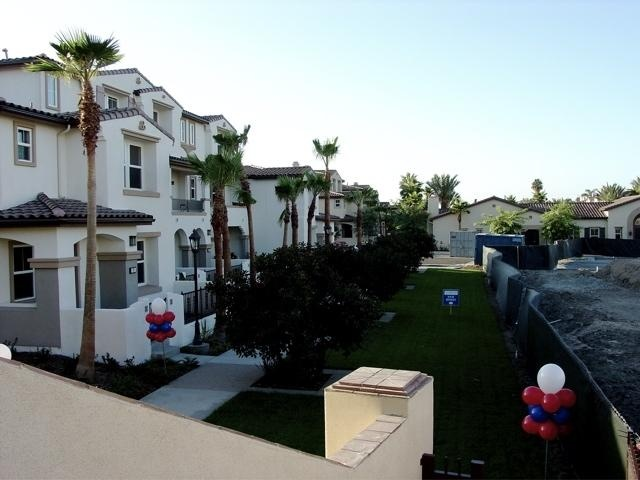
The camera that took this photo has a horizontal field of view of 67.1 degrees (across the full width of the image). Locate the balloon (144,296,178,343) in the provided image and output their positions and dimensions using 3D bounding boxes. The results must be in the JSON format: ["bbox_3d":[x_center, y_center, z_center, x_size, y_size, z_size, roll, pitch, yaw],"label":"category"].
[{"bbox_3d":[-4.934,2.475,14.773,0.677,1.369,0.725,12,-5,-43],"label":"balloon"}]
